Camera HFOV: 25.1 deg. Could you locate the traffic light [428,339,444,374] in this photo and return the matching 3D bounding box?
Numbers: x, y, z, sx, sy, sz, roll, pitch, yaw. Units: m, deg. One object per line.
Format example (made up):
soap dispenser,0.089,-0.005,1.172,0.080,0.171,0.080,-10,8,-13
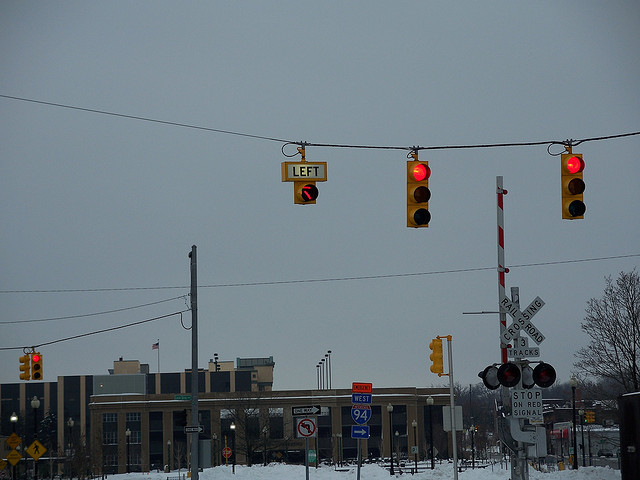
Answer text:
traffic light,10.878,10.882,134.135,1.099,3.109,1.138,-2,-15,0
